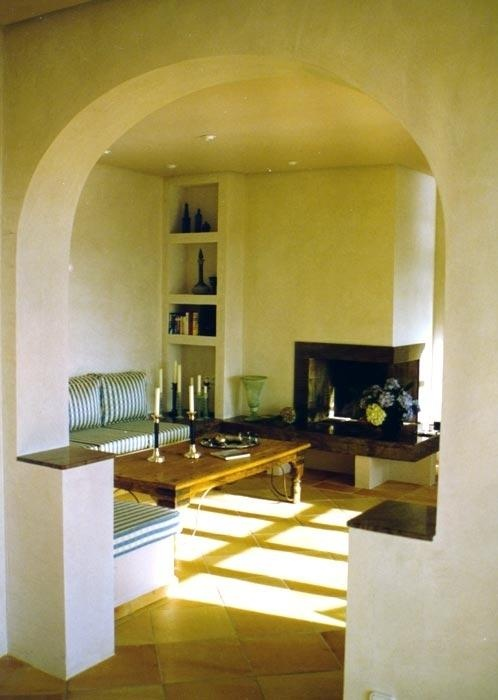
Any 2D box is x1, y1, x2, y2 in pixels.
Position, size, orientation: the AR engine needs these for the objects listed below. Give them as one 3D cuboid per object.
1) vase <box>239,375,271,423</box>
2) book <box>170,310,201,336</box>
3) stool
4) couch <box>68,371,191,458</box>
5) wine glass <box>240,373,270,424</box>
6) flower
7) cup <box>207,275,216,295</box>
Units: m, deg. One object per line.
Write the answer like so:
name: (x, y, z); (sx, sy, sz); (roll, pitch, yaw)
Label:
vase: (0.044, 0.438, 5.929); (0.348, 0.493, 0.337); (-3, 8, -20)
book: (-0.618, -0.256, 6.331); (0.230, 0.302, 0.307); (1, 2, 18)
stool: (-0.611, 1.005, 3.088); (0.293, 0.414, 0.415); (-22, -13, 25)
couch: (-1.043, 0.524, 5.120); (0.642, 0.611, 1.226); (3, 3, 28)
wine glass: (0.046, 0.437, 5.946); (0.352, 0.502, 0.337); (0, 5, 7)
flower: (1.189, 0.459, 5.563); (0.482, 0.464, 0.420); (0, 3, -10)
cup: (-0.352, -0.644, 6.245); (0.154, 0.183, 0.154); (0, -1, 0)
